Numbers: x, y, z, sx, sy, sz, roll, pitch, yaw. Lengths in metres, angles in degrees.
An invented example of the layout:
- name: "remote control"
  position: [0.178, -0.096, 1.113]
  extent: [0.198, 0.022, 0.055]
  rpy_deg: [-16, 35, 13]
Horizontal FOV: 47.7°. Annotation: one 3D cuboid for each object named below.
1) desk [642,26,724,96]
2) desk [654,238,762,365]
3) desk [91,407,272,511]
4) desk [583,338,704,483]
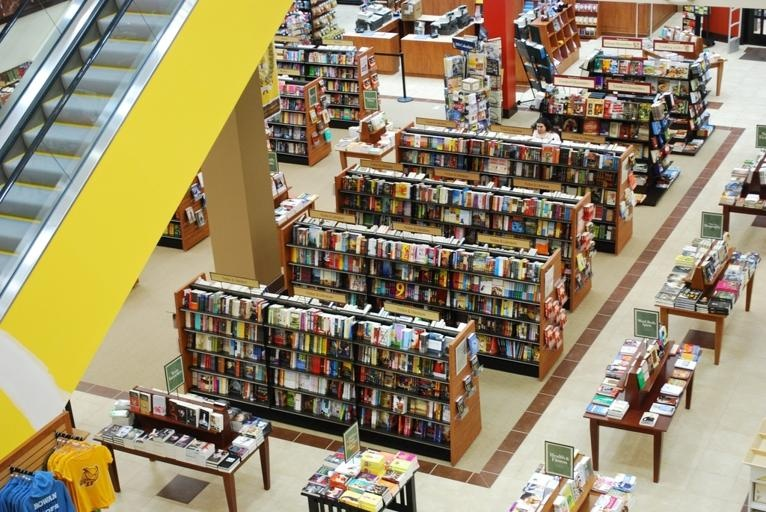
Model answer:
- name: "desk"
  position: [7.403, -4.659, 21.251]
  extent: [1.318, 1.374, 1.785]
  rpy_deg: [2, 5, -23]
- name: "desk"
  position: [5.119, 0.779, 13.511]
  extent: [0.883, 1.016, 1.498]
  rpy_deg: [13, 38, 30]
- name: "desk"
  position: [-2.497, 2.360, 11.947]
  extent: [2.388, 1.160, 1.246]
  rpy_deg: [12, 29, 25]
- name: "desk"
  position: [3.651, 2.198, 11.950]
  extent: [0.790, 1.019, 1.477]
  rpy_deg: [11, 32, 29]
